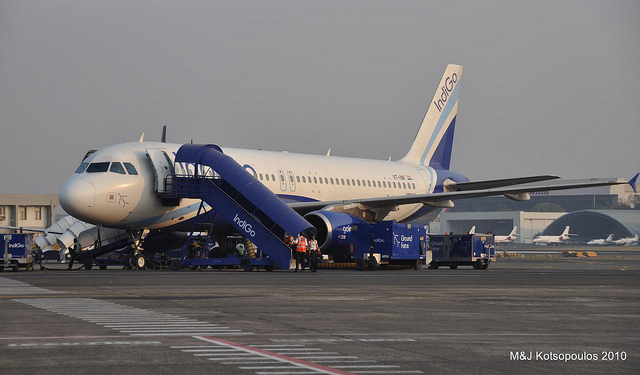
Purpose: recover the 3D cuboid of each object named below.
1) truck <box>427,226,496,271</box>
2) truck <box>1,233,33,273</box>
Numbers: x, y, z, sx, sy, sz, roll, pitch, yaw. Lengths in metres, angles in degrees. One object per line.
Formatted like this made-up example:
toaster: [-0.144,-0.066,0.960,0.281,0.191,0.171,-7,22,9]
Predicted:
truck: [6.875,3.147,51.711,3.260,1.472,1.849,-2,-3,28]
truck: [-13.744,2.940,47.132,1.355,1.616,0.826,2,0,-26]
